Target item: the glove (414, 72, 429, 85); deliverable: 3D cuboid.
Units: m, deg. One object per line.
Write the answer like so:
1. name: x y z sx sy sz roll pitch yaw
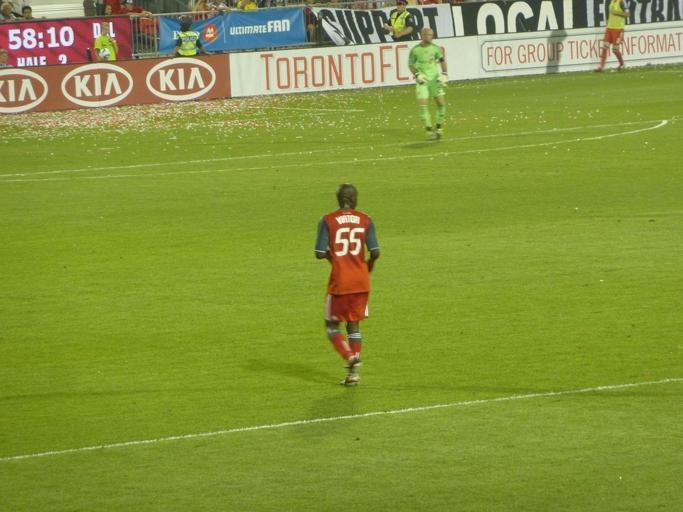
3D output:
1. glove: 1.634 -3.698 33.647 0.237 0.223 0.230 -11 57 -3

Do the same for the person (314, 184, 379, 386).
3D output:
1. person: 0.078 0.386 22.562 0.622 2.718 0.721 8 18 41
